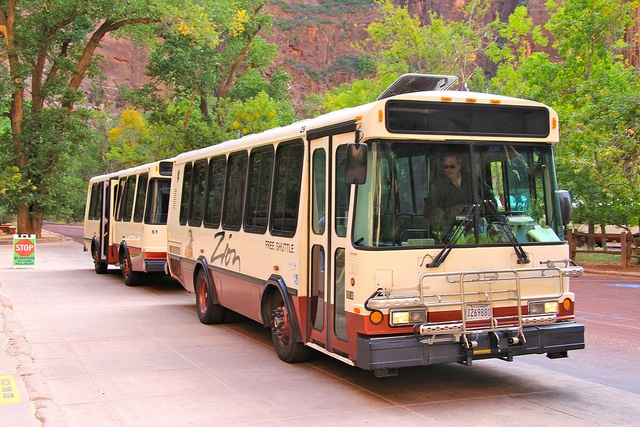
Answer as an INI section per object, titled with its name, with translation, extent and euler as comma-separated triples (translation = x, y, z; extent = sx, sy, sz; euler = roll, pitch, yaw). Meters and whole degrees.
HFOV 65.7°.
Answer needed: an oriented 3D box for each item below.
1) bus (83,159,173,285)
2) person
[bus]
translation = -7.022, 0.504, 17.941
extent = 2.413, 2.511, 6.014
euler = 2, -1, -33
[person]
translation = 1.882, -0.410, 6.791
extent = 0.752, 0.978, 0.427
euler = -6, -14, 5
